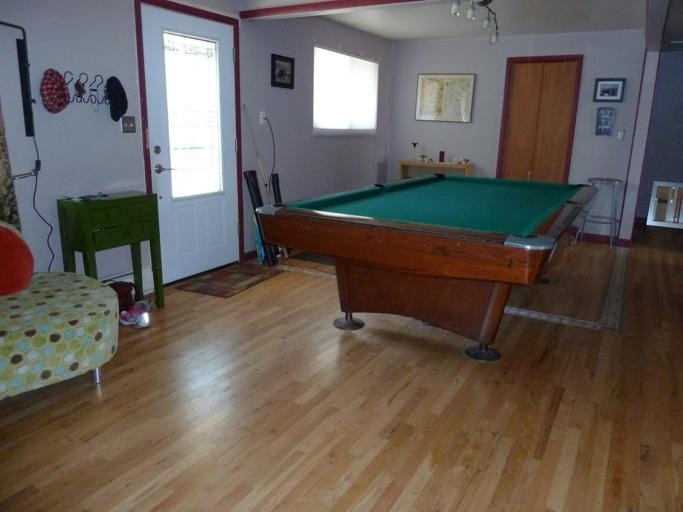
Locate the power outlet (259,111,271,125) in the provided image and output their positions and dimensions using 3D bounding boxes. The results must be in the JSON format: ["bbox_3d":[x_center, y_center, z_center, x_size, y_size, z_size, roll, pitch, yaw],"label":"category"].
[{"bbox_3d":[-0.838,-1.485,5.178,0.036,0.134,0.094,2,12,31],"label":"power outlet"}]

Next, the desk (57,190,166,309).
[{"bbox_3d":[-1.798,0.020,3.817,0.354,1.048,0.614,15,22,31],"label":"desk"}]

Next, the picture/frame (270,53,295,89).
[{"bbox_3d":[-0.669,-2.053,5.306,0.021,0.322,0.435,5,11,25],"label":"picture/frame"}]

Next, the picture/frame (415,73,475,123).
[{"bbox_3d":[1.509,-2.310,7.030,0.856,0.692,0.060,7,19,29],"label":"picture/frame"}]
